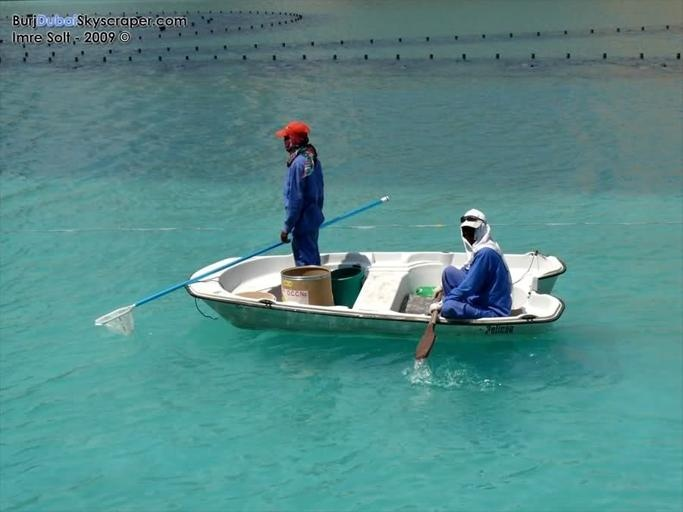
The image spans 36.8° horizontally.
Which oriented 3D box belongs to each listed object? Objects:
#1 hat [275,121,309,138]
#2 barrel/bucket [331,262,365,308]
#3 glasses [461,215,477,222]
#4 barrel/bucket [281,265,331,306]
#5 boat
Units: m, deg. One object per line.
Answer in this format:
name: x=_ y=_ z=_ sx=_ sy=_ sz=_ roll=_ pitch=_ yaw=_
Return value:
hat: x=-0.863 y=-2.236 z=18.058 sx=0.533 sy=0.254 sz=0.385 roll=-1 pitch=13 yaw=3
barrel/bucket: x=0.103 y=0.560 z=18.515 sx=0.809 sy=0.531 sz=0.594 roll=-14 pitch=31 yaw=-14
glasses: x=2.102 y=-0.617 z=17.168 sx=0.305 sy=0.124 sz=0.110 roll=8 pitch=18 yaw=39
barrel/bucket: x=-0.622 y=0.577 z=18.202 sx=0.968 sy=0.704 sz=0.787 roll=5 pitch=26 yaw=17
boat: x=0.722 y=0.830 z=18.021 sx=6.813 sy=0.800 sz=2.039 roll=-1 pitch=25 yaw=6
